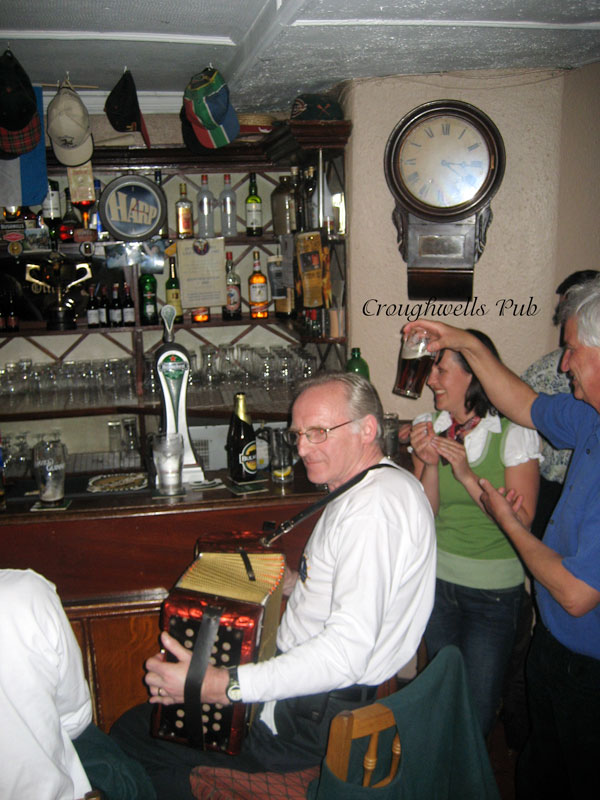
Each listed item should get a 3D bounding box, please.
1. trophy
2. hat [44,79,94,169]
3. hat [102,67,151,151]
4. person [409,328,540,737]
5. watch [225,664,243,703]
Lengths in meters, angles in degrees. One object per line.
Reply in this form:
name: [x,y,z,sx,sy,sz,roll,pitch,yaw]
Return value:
trophy: [-0.432,0.043,2.393,0.206,0.458,0.191,-3,19,-15]
hat: [-1.129,-1.316,3.334,0.219,0.434,0.125,-3,24,-16]
hat: [-0.918,-1.540,3.582,0.146,0.338,0.246,-2,19,-16]
person: [0.561,0.646,2.370,0.517,1.706,0.471,-2,4,-19]
watch: [-0.137,0.583,1.391,0.047,0.063,0.060,3,-6,-9]
